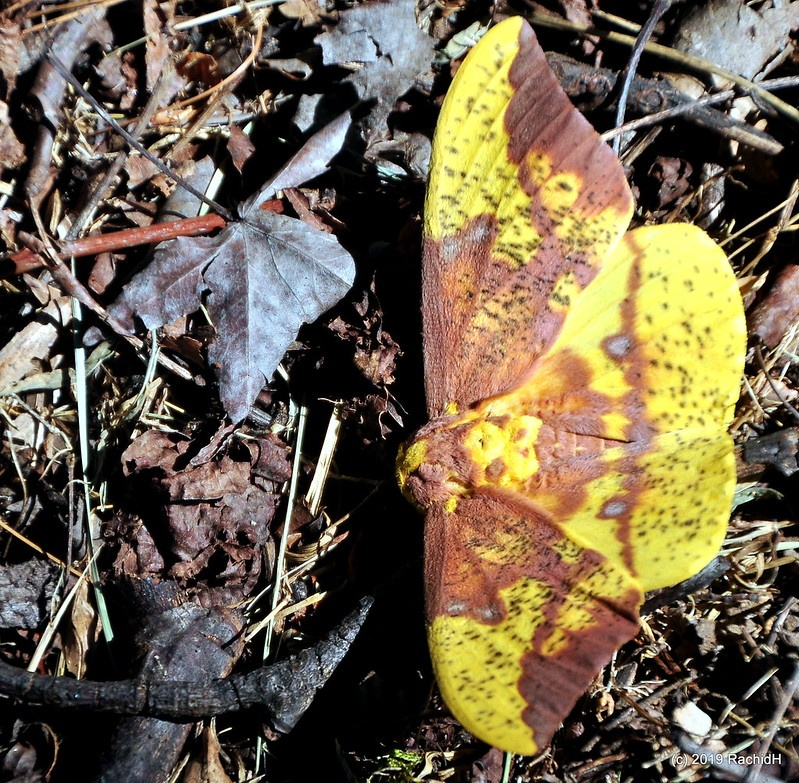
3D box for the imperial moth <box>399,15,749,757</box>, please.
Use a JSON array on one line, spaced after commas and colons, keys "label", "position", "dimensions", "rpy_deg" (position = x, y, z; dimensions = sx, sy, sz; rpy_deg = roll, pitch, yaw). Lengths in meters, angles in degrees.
[{"label": "imperial moth", "position": [0.425, 0.178, 2.607], "dimensions": [0.926, 0.518, 1.979], "rpy_deg": [4, 83, -13]}]
